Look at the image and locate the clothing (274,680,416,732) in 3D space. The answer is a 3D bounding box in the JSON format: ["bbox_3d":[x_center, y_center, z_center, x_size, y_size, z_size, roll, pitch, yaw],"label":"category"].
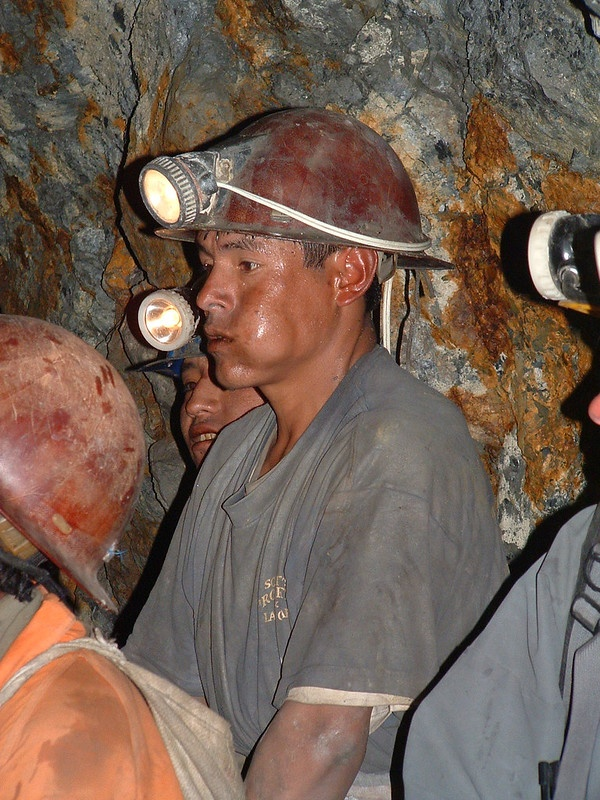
[{"bbox_3d":[0.111,0.643,2.082,0.195,0.057,0.161,7,-14,-12],"label":"clothing"}]

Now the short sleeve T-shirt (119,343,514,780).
[{"bbox_3d":[-0.020,0.494,2.566,0.899,1.063,0.726,-7,-8,44],"label":"short sleeve T-shirt"}]

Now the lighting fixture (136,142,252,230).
[{"bbox_3d":[-0.292,-0.567,2.606,0.299,0.202,0.164,-34,36,-31],"label":"lighting fixture"}]
